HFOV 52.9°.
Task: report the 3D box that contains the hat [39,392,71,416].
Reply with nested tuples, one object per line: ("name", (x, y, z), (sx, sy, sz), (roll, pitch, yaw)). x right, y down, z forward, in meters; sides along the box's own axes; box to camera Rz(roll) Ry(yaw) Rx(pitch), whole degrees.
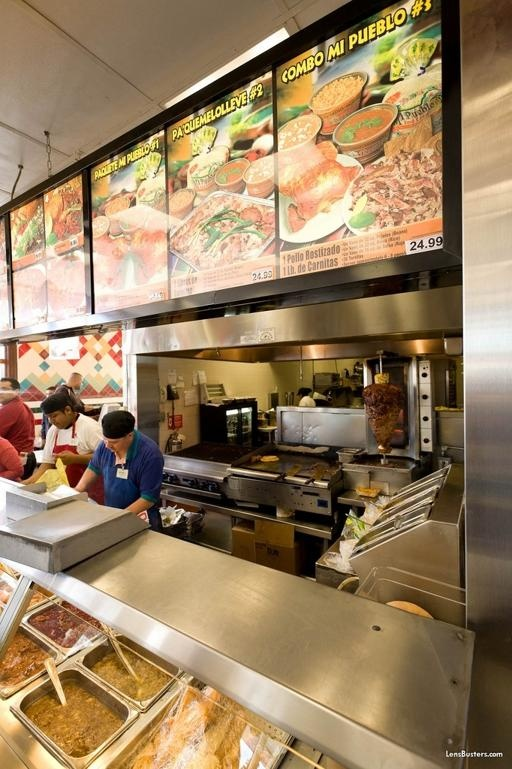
("hat", (-1.111, 0.105, 2.855), (0.116, 0.091, 0.165), (-7, 21, 26))

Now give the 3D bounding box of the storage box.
("storage box", (0.041, 0.827, 2.738), (0.475, 0.315, 0.144), (10, 16, 43))

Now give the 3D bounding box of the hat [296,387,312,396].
("hat", (0.553, 0.088, 5.847), (0.099, 0.102, 0.186), (0, 2, -3))

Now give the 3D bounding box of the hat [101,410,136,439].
("hat", (-0.616, 0.180, 2.282), (0.133, 0.109, 0.180), (-5, 13, -18))
